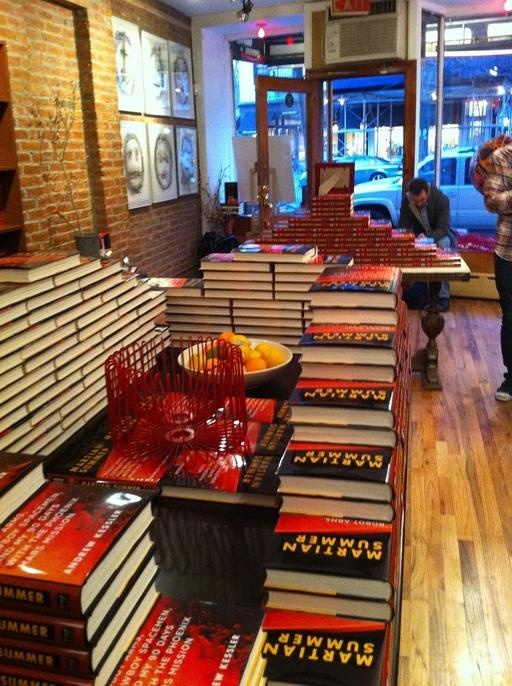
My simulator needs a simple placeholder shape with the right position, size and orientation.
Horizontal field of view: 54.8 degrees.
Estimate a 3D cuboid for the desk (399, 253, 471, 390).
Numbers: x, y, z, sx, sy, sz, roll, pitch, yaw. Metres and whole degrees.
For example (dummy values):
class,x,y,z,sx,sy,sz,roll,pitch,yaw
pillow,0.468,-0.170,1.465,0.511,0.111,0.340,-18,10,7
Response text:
class,x,y,z,sx,sy,sz,roll,pitch,yaw
desk,1.355,-0.184,3.783,0.534,0.814,0.828,2,10,18
